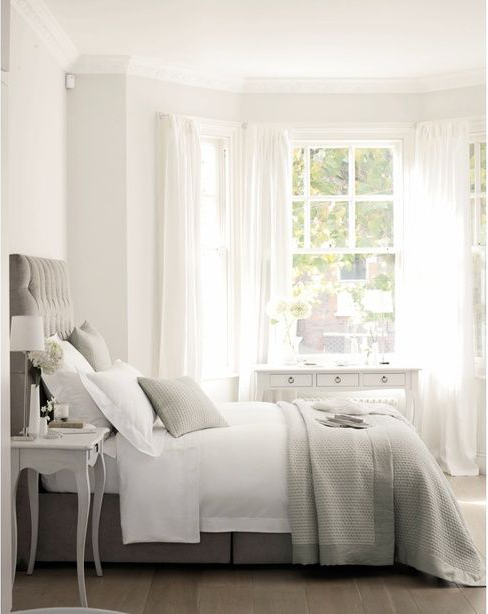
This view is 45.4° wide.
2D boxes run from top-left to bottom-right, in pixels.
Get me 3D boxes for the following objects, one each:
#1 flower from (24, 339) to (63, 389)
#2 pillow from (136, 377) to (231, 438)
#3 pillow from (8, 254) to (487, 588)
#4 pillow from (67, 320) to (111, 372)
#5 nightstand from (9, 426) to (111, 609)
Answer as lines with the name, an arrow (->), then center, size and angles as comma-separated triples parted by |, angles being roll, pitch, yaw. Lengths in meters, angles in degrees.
flower -> -0.858, 0.257, 2.464 | 0.113, 0.130, 0.124 | 13, -1, 23
pillow -> -0.285, 0.474, 2.800 | 0.242, 0.115, 0.358 | 9, 27, -36
pillow -> 0.013, 0.481, 2.779 | 1.475, 1.153, 1.563 | -1, 0, -5
pillow -> -0.912, 0.219, 3.379 | 0.092, 0.244, 0.247 | -24, 3, 7
nightstand -> -0.674, 0.778, 2.552 | 0.465, 0.882, 0.620 | 0, -2, 1
